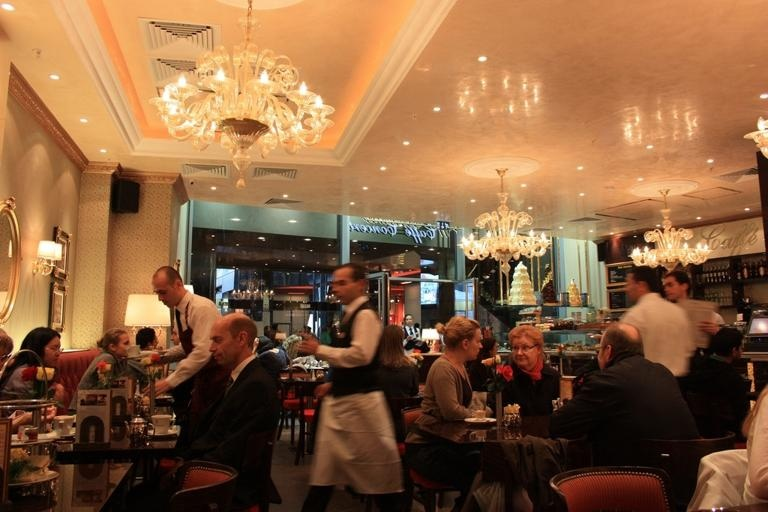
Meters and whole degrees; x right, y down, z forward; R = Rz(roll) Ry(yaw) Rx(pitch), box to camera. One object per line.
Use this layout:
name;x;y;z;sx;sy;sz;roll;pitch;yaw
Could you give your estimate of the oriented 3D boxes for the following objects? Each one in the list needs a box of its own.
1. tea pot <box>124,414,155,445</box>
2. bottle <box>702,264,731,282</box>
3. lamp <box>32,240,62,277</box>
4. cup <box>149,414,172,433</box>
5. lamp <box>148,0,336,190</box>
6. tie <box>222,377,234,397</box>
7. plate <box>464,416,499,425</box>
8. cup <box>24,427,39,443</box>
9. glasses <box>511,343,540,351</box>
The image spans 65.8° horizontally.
tea pot;-1.756;1.263;4.296;0.174;0.181;0.284;4;-10;-19
bottle;7.058;0.339;12.584;0.156;0.333;0.419;13;-14;-43
lamp;-4.343;0.008;7.639;0.343;0.409;0.474;-11;-15;22
cup;-1.664;1.272;4.497;0.170;0.102;0.128;-2;-12;1
lamp;-1.696;-1.651;6.932;1.741;2.165;2.436;4;-10;-17
tie;-1.150;0.964;4.402;0.064;0.134;0.309;4;-10;-14
plate;0.804;1.383;4.992;0.261;0.062;0.181;-1;-9;11
cup;-2.423;1.225;4.084;0.154;0.084;0.064;-3;-11;22
glasses;1.288;0.813;5.316;0.129;0.034;0.136;-14;-24;43
